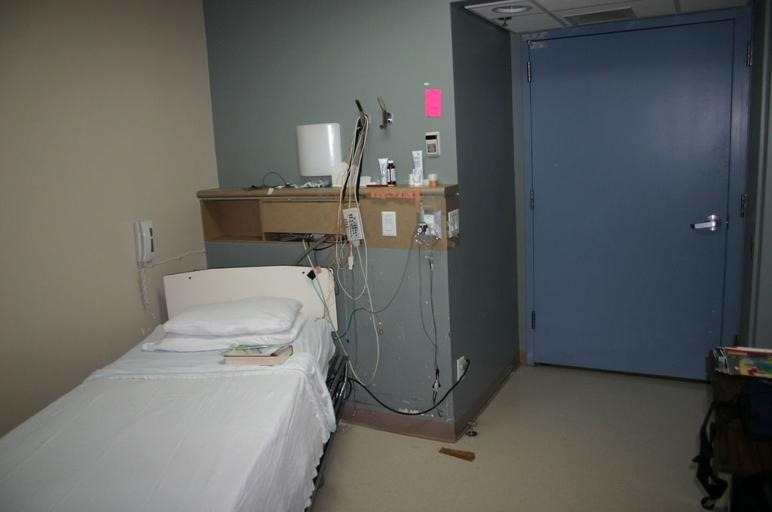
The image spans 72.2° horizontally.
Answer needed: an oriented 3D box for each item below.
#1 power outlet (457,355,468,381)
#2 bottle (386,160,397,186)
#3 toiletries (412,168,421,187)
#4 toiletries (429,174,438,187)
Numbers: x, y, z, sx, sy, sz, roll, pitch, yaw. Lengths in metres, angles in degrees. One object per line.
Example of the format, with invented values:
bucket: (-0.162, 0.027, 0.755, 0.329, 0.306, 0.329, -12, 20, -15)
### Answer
power outlet: (0.547, 0.806, 3.843, 0.033, 0.142, 0.199, 1, 5, 27)
bottle: (0.037, -0.590, 3.738, 0.057, 0.169, 0.087, 1, 13, 15)
toiletries: (0.216, -0.552, 3.651, 0.073, 0.118, 0.126, -2, 13, 3)
toiletries: (0.323, -0.523, 3.608, 0.053, 0.076, 0.096, -2, 13, 5)
